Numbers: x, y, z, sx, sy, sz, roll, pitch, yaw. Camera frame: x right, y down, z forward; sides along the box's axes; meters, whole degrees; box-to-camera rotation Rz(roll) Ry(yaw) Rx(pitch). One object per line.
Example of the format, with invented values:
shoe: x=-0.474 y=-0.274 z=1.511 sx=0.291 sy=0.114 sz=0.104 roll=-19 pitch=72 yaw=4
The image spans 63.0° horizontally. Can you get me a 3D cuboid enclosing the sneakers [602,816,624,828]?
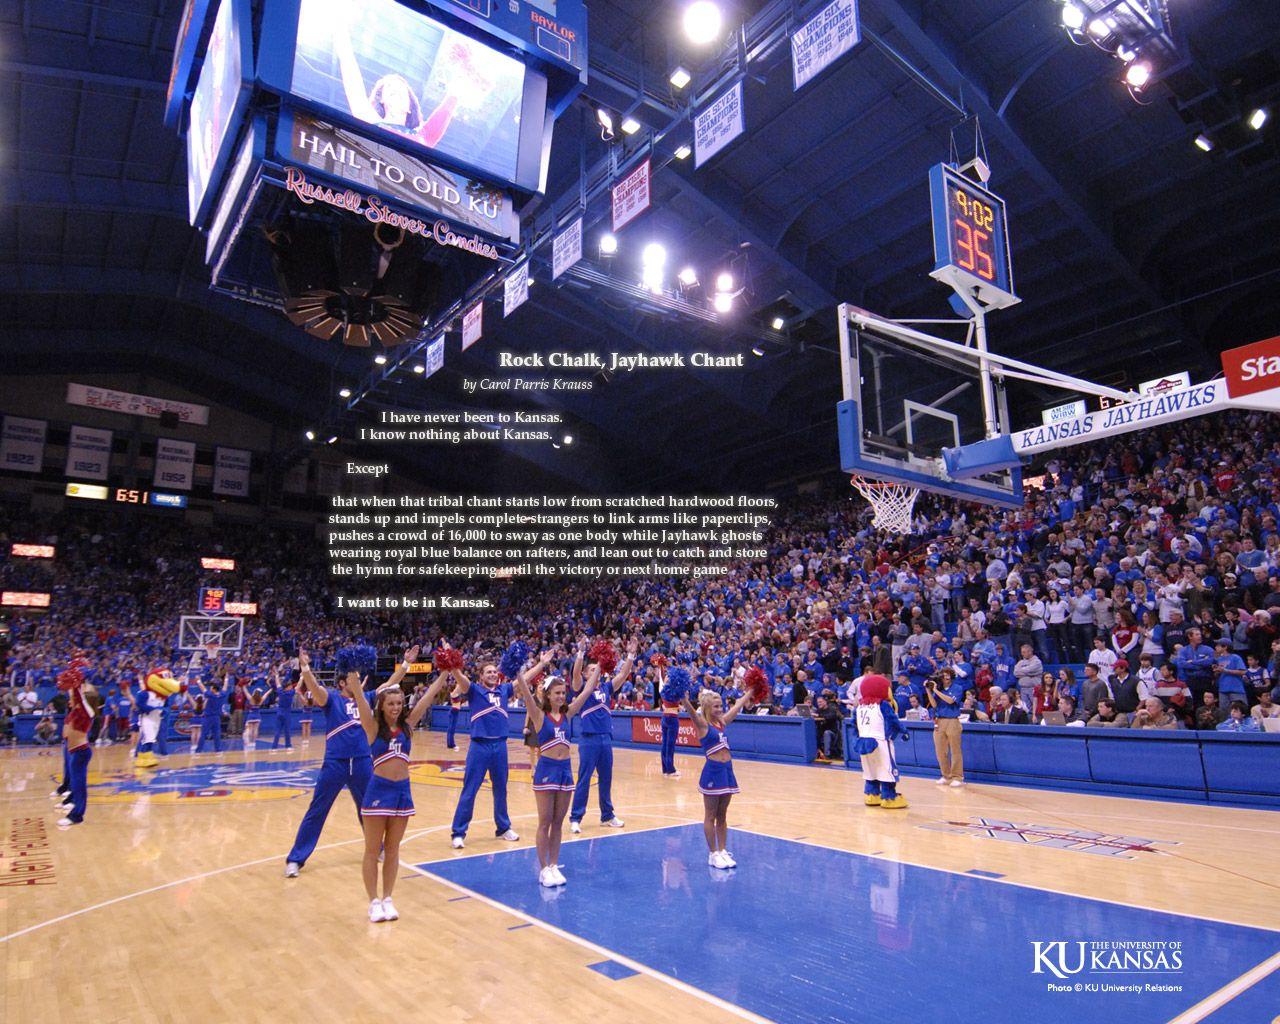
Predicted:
sneakers: x=-0.397 y=4.673 z=15.820 sx=0.299 sy=0.148 sz=0.134 roll=1 pitch=-8 yaw=-1

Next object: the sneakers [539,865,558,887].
sneakers: x=-1.063 y=4.363 z=12.612 sx=0.292 sy=0.283 sz=0.238 roll=-1 pitch=-1 yaw=-4

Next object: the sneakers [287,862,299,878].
sneakers: x=-4.384 y=4.468 z=13.122 sx=0.162 sy=0.161 sz=0.175 roll=-1 pitch=-1 yaw=-12

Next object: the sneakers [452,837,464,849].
sneakers: x=-2.510 y=4.535 z=14.455 sx=0.171 sy=0.180 sz=0.294 roll=-1 pitch=-1 yaw=-10

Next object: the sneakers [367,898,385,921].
sneakers: x=-2.928 y=4.404 z=11.599 sx=0.150 sy=0.234 sz=0.175 roll=0 pitch=-1 yaw=-15
